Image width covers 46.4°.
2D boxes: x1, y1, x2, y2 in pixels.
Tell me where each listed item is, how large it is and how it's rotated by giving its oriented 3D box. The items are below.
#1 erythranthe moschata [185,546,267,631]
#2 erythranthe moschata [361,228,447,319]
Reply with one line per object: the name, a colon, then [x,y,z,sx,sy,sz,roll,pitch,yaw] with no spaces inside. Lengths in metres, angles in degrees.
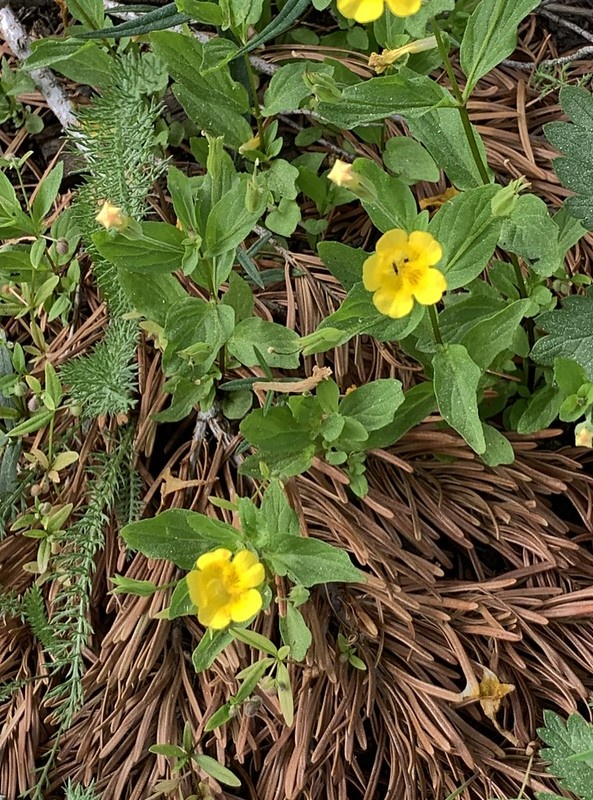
erythranthe moschata: [-0.117,0.283,1.050,0.105,0.117,0.050,13,72,48]
erythranthe moschata: [0.170,-0.189,1.097,0.119,0.156,0.131,-1,74,7]
